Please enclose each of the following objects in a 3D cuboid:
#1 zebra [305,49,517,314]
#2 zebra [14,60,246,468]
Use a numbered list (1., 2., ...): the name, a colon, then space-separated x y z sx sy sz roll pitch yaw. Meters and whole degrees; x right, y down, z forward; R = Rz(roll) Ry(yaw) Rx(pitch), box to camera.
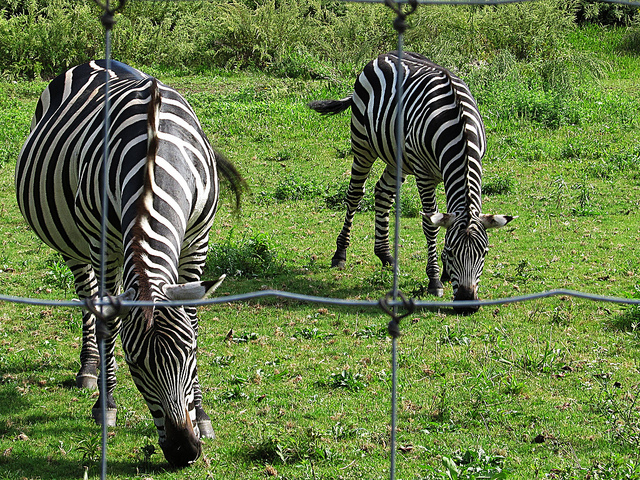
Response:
1. zebra: 1.246 -0.799 13.416 1.294 3.127 5.187 6 13 -16
2. zebra: -1.949 0.190 9.531 1.953 3.862 3.680 1 9 -19
